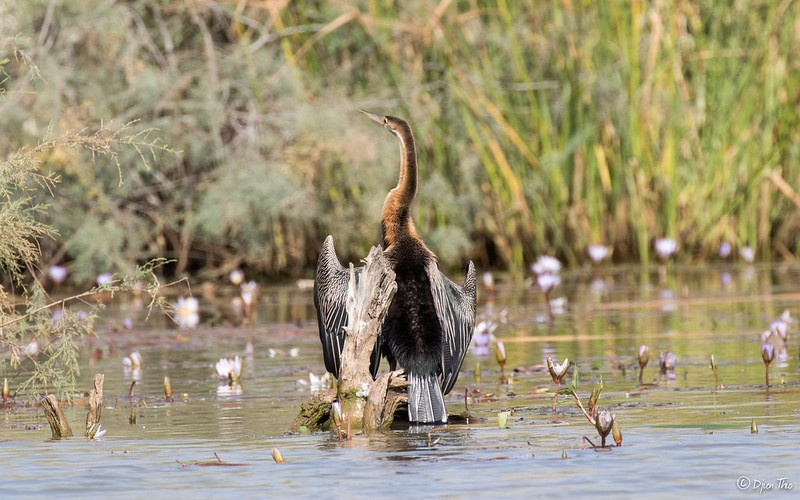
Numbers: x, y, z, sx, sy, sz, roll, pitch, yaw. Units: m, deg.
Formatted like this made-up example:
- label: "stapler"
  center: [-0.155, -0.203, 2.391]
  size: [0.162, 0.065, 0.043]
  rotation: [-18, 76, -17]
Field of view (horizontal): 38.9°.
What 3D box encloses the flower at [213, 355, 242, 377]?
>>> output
- label: "flower"
  center: [-1.699, 1.160, 11.302]
  size: [0.239, 0.216, 0.228]
  rotation: [-14, 3, -32]
